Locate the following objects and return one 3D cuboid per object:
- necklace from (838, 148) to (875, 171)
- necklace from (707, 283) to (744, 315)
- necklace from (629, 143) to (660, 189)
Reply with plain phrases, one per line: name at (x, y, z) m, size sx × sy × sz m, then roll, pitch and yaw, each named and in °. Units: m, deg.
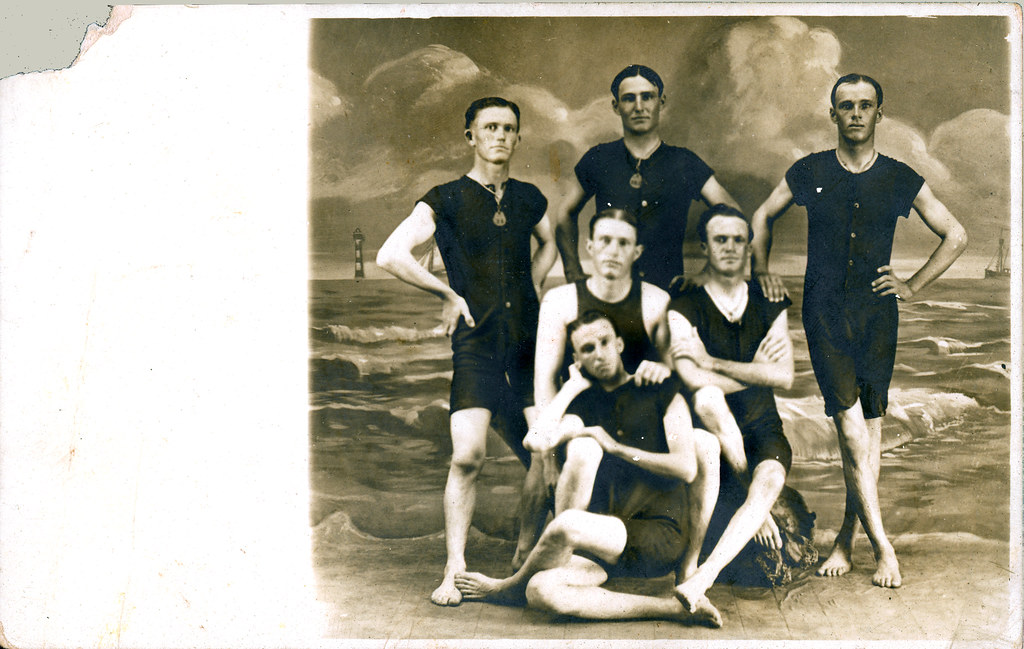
necklace at (3.054, -1.466, 10.754) m, size 0.241 × 0.055 × 0.227 m, roll -4°, pitch 20°, yaw 1°
necklace at (1.916, -0.222, 10.669) m, size 0.235 × 0.292 × 0.113 m, roll -4°, pitch 3°, yaw -1°
necklace at (1.122, -1.387, 10.683) m, size 0.248 × 0.372 × 0.205 m, roll 16°, pitch -3°, yaw -23°
